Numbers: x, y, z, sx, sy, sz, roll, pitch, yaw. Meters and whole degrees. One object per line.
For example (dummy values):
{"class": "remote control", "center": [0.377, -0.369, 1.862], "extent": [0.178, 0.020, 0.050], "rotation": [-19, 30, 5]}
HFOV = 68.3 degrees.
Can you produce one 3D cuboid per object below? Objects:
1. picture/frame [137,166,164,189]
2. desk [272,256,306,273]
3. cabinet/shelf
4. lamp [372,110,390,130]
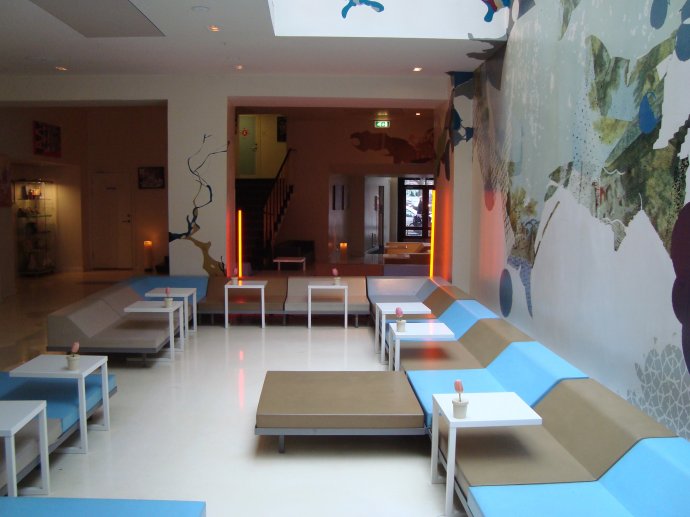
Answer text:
{"class": "picture/frame", "center": [-5.219, -2.196, 13.517], "extent": [0.480, 0.477, 0.051], "rotation": [1, 11, -2]}
{"class": "desk", "center": [-1.249, 0.115, 11.318], "extent": [0.682, 0.402, 1.118], "rotation": [-3, 9, -10]}
{"class": "cabinet/shelf", "center": [-7.661, -0.747, 12.599], "extent": [0.444, 2.280, 0.989], "rotation": [6, 10, 41]}
{"class": "lamp", "center": [0.948, -3.504, 12.907], "extent": [0.453, 0.408, 0.834], "rotation": [-1, 9, 3]}
